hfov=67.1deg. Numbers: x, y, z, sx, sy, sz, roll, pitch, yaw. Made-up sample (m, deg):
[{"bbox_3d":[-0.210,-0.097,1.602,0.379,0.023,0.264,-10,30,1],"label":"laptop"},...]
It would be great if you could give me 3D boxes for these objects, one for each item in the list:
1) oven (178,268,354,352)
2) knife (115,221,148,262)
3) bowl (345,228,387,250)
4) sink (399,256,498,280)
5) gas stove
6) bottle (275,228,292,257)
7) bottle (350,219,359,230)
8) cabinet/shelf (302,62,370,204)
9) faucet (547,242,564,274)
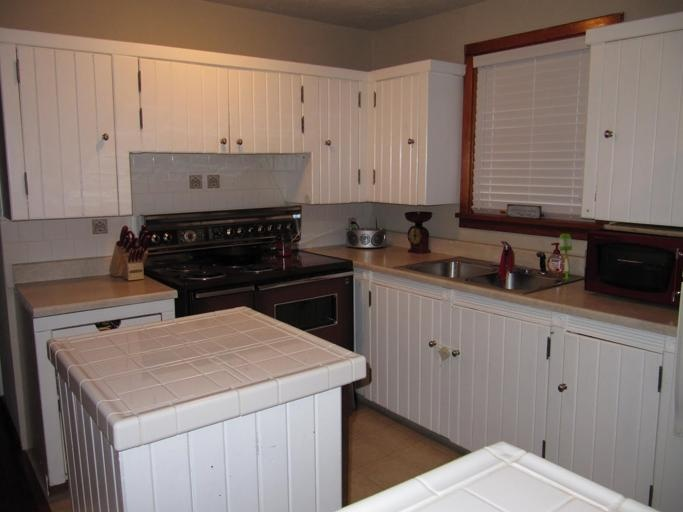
[{"bbox_3d":[-0.415,0.512,3.626,1.046,0.668,0.596,-7,-12,-24],"label":"oven"},{"bbox_3d":[-1.326,-0.077,3.269,0.076,0.152,0.277,3,-19,15],"label":"knife"},{"bbox_3d":[0.216,-0.151,4.333,0.348,0.171,0.201,3,13,-4],"label":"bowl"},{"bbox_3d":[0.752,0.087,3.700,0.334,0.120,0.276,-6,9,-39],"label":"sink"},{"bbox_3d":[-0.643,0.058,3.572,1.286,0.136,0.580,-5,16,-33],"label":"gas stove"},{"bbox_3d":[-0.442,-0.095,3.922,0.146,0.238,0.210,-1,0,-32],"label":"bottle"},{"bbox_3d":[0.105,-0.276,4.519,0.093,0.123,0.105,1,-3,-5],"label":"bottle"},{"bbox_3d":[-0.031,-0.879,3.942,0.584,0.932,0.151,-5,16,-32],"label":"cabinet/shelf"},{"bbox_3d":[1.376,0.013,3.302,0.099,0.205,0.218,9,14,21],"label":"faucet"}]
